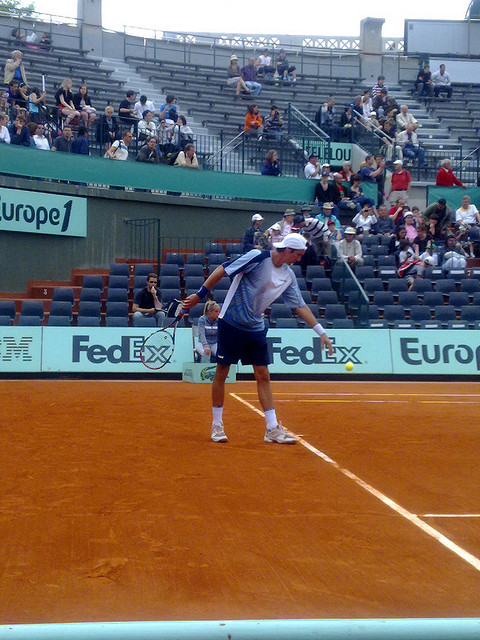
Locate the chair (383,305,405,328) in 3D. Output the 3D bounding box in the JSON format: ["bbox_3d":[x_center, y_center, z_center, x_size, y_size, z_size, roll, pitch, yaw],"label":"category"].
[{"bbox_3d":[3.372,-0.086,16.087,0.565,0.481,0.448,1,-6,-3],"label":"chair"}]

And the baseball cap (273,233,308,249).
[{"bbox_3d":[0.454,-0.692,6.622,0.255,0.121,0.157,15,3,5],"label":"baseball cap"}]

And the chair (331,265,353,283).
[{"bbox_3d":[2.208,-1.030,16.655,0.379,0.274,0.337,2,-4,3],"label":"chair"}]

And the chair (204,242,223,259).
[{"bbox_3d":[-0.709,-1.752,19.020,0.571,0.438,0.490,3,5,-1],"label":"chair"}]

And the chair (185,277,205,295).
[{"bbox_3d":[-1.015,-0.749,16.463,0.367,0.410,0.341,1,-10,-5],"label":"chair"}]

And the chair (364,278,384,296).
[{"bbox_3d":[3.048,-0.742,17.305,0.446,0.408,0.530,2,-5,-5],"label":"chair"}]

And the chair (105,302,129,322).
[{"bbox_3d":[-2.476,-0.158,15.100,0.368,0.446,0.373,1,3,-7],"label":"chair"}]

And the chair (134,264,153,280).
[{"bbox_3d":[-2.178,-1.107,16.814,0.305,0.390,0.327,1,3,-11],"label":"chair"}]

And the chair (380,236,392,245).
[{"bbox_3d":[3.648,-2.000,18.786,0.205,0.191,0.224,7,-18,-2],"label":"chair"}]

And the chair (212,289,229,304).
[{"bbox_3d":[-0.441,-0.496,15.688,0.353,0.393,0.301,2,0,-5],"label":"chair"}]

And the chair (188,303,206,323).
[{"bbox_3d":[-0.901,-0.174,15.352,0.405,0.529,0.451,2,-9,3],"label":"chair"}]

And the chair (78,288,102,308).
[{"bbox_3d":[-3.140,-0.490,15.708,0.353,0.261,0.339,0,11,-10],"label":"chair"}]

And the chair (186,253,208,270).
[{"bbox_3d":[-1.042,-1.403,17.635,0.471,0.409,0.404,3,6,-2],"label":"chair"}]

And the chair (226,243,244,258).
[{"bbox_3d":[-0.124,-1.775,18.989,0.481,0.541,0.438,1,3,20],"label":"chair"}]

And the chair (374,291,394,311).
[{"bbox_3d":[3.172,-0.419,16.561,0.436,0.403,0.522,3,3,-3],"label":"chair"}]

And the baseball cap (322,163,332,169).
[{"bbox_3d":[2.566,-4.651,22.458,0.202,0.103,0.330,0,8,41],"label":"baseball cap"}]

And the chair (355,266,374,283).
[{"bbox_3d":[2.881,-1.097,17.381,0.387,0.387,0.492,2,37,5],"label":"chair"}]

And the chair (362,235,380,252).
[{"bbox_3d":[3.286,-1.958,18.804,0.420,0.411,0.532,3,-5,0],"label":"chair"}]

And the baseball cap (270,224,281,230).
[{"bbox_3d":[0.761,-2.030,16.351,0.214,0.113,0.201,-11,-21,24],"label":"baseball cap"}]

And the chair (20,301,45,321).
[{"bbox_3d":[-4.091,-0.215,14.805,0.475,0.380,0.403,1,-5,-5],"label":"chair"}]

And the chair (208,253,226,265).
[{"bbox_3d":[-0.539,-1.434,17.575,0.378,0.356,0.334,6,-30,-7],"label":"chair"}]

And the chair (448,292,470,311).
[{"bbox_3d":[4.928,-0.434,16.958,0.472,0.405,0.394,1,-6,0],"label":"chair"}]

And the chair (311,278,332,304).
[{"bbox_3d":[1.788,-0.666,16.930,0.541,0.648,0.538,2,-2,-7],"label":"chair"}]

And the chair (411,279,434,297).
[{"bbox_3d":[4.187,-0.760,17.169,0.418,0.505,0.418,2,-21,4],"label":"chair"}]

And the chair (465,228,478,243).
[{"bbox_3d":[6.190,-2.267,19.973,0.293,0.366,0.613,2,1,16],"label":"chair"}]

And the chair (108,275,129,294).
[{"bbox_3d":[-2.666,-0.792,16.317,0.412,0.296,0.395,1,10,-5],"label":"chair"}]

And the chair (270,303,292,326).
[{"bbox_3d":[0.842,-0.113,15.788,0.508,0.423,0.429,3,-5,-15],"label":"chair"}]

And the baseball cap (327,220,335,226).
[{"bbox_3d":[2.153,-2.303,17.723,0.145,0.097,0.227,-2,-14,6],"label":"baseball cap"}]

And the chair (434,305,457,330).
[{"bbox_3d":[4.468,-0.101,16.310,0.485,0.588,0.489,1,-15,1],"label":"chair"}]

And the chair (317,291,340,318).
[{"bbox_3d":[1.896,-0.355,16.459,0.516,0.648,0.494,2,-8,-7],"label":"chair"}]

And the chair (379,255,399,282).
[{"bbox_3d":[3.510,-1.249,17.730,0.541,0.650,0.599,2,-7,-2],"label":"chair"}]

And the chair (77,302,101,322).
[{"bbox_3d":[-3.016,-0.203,14.923,0.482,0.355,0.380,1,5,-6],"label":"chair"}]

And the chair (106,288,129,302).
[{"bbox_3d":[-2.575,-0.520,15.652,0.345,0.382,0.317,1,9,-4],"label":"chair"}]

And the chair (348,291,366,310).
[{"bbox_3d":[2.429,-0.409,15.706,0.351,0.393,0.322,-2,-1,-2],"label":"chair"}]

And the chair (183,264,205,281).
[{"bbox_3d":[-1.083,-1.093,17.125,0.405,0.385,0.490,3,-18,-12],"label":"chair"}]

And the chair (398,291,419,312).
[{"bbox_3d":[3.720,-0.448,16.818,0.502,0.465,0.422,4,-9,-4],"label":"chair"}]

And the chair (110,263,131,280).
[{"bbox_3d":[-2.716,-1.092,16.921,0.420,0.468,0.390,1,9,-4],"label":"chair"}]

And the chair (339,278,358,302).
[{"bbox_3d":[2.406,-0.666,16.105,0.384,0.502,0.433,2,-5,-5],"label":"chair"}]

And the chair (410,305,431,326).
[{"bbox_3d":[3.906,-0.085,16.458,0.518,0.430,0.425,2,-5,-6],"label":"chair"}]

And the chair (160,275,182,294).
[{"bbox_3d":[-1.514,-0.768,16.474,0.398,0.456,0.380,1,4,-4],"label":"chair"}]

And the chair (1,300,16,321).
[{"bbox_3d":[-4.496,-0.189,14.503,0.356,0.445,0.380,2,-5,-15],"label":"chair"}]

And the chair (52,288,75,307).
[{"bbox_3d":[-3.666,-0.502,15.528,0.427,0.317,0.415,1,9,-7],"label":"chair"}]

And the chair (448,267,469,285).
[{"bbox_3d":[5.152,-1.039,17.774,0.398,0.402,0.507,2,3,5],"label":"chair"}]

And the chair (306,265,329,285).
[{"bbox_3d":[1.758,-1.045,17.166,0.490,0.397,0.420,2,-4,-10],"label":"chair"}]

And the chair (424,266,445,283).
[{"bbox_3d":[4.563,-1.056,17.695,0.368,0.378,0.480,2,-4,2],"label":"chair"}]

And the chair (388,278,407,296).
[{"bbox_3d":[3.632,-0.788,17.259,0.397,0.474,0.393,1,-26,3],"label":"chair"}]

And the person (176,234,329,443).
[{"bbox_3d":[0.125,0.096,6.851,1.483,2.042,0.556,6,-13,-7],"label":"person"}]

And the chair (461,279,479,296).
[{"bbox_3d":[5.362,-0.788,17.592,0.448,0.362,0.362,1,-11,4],"label":"chair"}]

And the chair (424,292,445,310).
[{"bbox_3d":[4.326,-0.411,16.767,0.426,0.502,0.405,0,-35,8],"label":"chair"}]

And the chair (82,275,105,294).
[{"bbox_3d":[-3.242,-0.777,16.439,0.471,0.375,0.417,1,11,-7],"label":"chair"}]

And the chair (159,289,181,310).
[{"bbox_3d":[-1.514,-0.434,15.864,0.459,0.527,0.448,1,-7,-7],"label":"chair"}]

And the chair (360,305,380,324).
[{"bbox_3d":[2.757,-0.128,16.145,0.475,0.437,0.403,3,-7,-12],"label":"chair"}]

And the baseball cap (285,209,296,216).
[{"bbox_3d":[1.082,-2.340,16.341,0.287,0.115,0.274,-1,1,3],"label":"baseball cap"}]

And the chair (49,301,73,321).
[{"bbox_3d":[-3.570,-0.224,14.859,0.483,0.357,0.393,1,8,-7],"label":"chair"}]

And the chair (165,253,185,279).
[{"bbox_3d":[-1.529,-1.364,17.934,0.600,0.741,0.628,1,-9,-4],"label":"chair"}]

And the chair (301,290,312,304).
[{"bbox_3d":[1.444,-0.507,16.269,0.239,0.240,0.640,1,1,5],"label":"chair"}]

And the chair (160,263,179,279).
[{"bbox_3d":[-1.596,-1.102,16.863,0.340,0.272,0.306,3,10,-3],"label":"chair"}]
